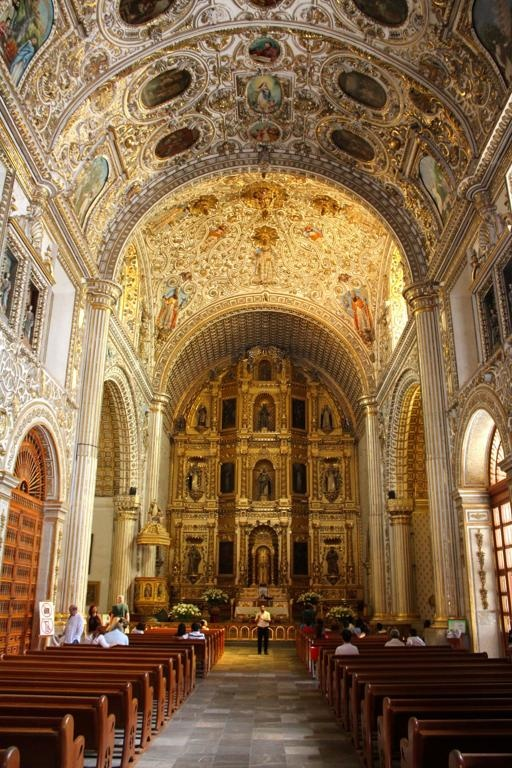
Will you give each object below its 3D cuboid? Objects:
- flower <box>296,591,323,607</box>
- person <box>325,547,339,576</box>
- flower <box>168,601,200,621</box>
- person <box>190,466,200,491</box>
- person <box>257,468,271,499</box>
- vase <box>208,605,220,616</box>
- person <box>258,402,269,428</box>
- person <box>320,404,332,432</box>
[{"bbox_3d":[2.494,10.100,25.733,0.982,0.742,1.066,-2,-28,9],"label":"flower"},{"bbox_3d":[3.982,9.311,28.576,0.649,1.457,0.219,-2,-20,6],"label":"person"},{"bbox_3d":[-2.749,8.940,21.419,1.237,0.883,1.267,3,-17,-4],"label":"flower"},{"bbox_3d":[-3.263,5.168,29.756,0.512,1.282,0.213,5,-20,-12],"label":"person"},{"bbox_3d":[0.476,5.444,29.370,0.730,1.471,0.333,1,-20,-1],"label":"person"},{"bbox_3d":[-1.929,10.437,25.198,0.512,0.703,0.527,-2,-32,6],"label":"vase"},{"bbox_3d":[0.460,1.795,30.350,0.765,1.757,0.467,2,-20,-4],"label":"person"},{"bbox_3d":[3.967,1.976,30.804,0.722,1.463,0.339,-1,-20,3],"label":"person"}]
